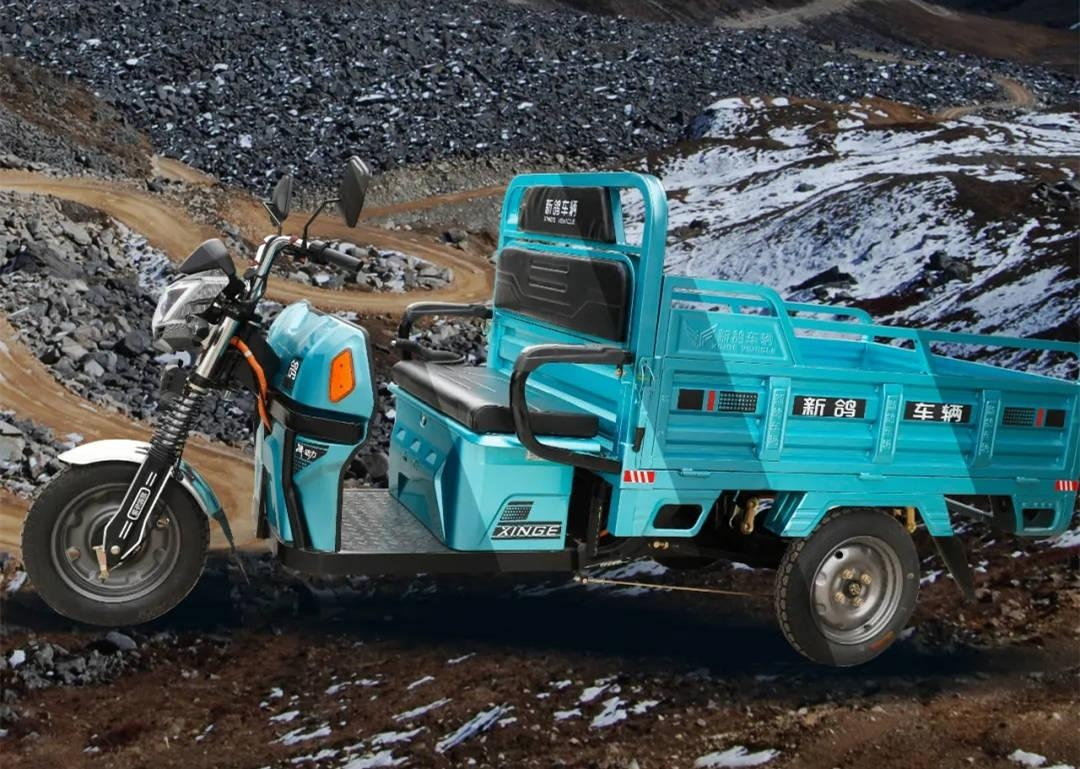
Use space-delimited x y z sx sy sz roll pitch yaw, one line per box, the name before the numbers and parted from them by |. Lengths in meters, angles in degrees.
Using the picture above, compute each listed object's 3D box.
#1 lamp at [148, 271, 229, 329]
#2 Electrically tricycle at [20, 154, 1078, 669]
lamp | -2.327 -0.559 6.027 0.339 0.544 0.181 58 3 40
Electrically tricycle | -0.181 0.136 7.843 9.460 2.762 3.476 3 5 -15
